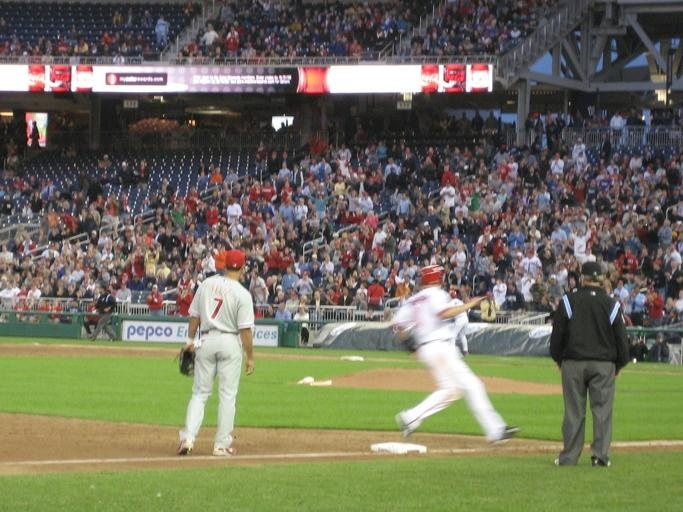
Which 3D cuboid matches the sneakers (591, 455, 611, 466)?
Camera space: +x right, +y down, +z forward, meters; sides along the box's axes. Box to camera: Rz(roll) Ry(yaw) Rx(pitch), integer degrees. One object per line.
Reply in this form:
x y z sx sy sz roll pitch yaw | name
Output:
6.906 5.313 47.645 0.192 0.255 0.542 1 1 36 | sneakers

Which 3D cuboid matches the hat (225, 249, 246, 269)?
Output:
-2.871 -0.015 48.244 0.360 0.582 0.304 5 -28 -7 | hat

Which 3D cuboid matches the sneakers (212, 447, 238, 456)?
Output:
-3.135 5.120 48.066 0.242 0.186 0.484 1 0 21 | sneakers
